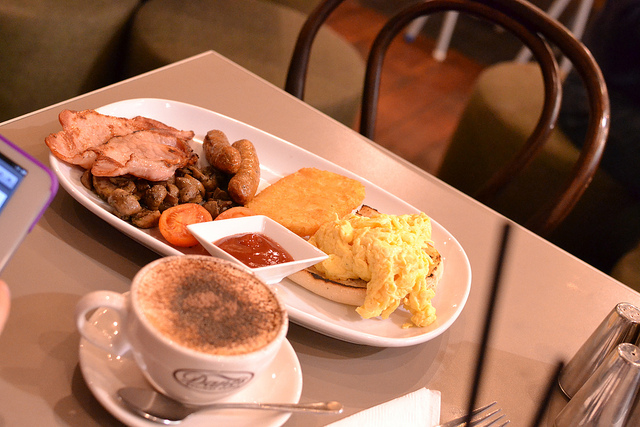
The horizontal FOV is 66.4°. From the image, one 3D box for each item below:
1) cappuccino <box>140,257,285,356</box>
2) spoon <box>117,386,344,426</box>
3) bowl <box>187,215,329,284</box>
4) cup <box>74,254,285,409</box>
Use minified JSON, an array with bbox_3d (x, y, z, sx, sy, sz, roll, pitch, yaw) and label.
[{"bbox_3d":[-0.166,0.140,0.749,0.221,0.043,0.148,20,61,7],"label":"cappuccino"},{"bbox_3d":[-0.149,0.313,0.769,0.354,0.052,0.053,6,60,-1],"label":"spoon"},{"bbox_3d":[-0.135,0.070,1.090,0.183,0.061,0.203,-5,27,-44],"label":"bowl"},{"bbox_3d":[-0.237,0.199,0.795,0.305,0.158,0.231,12,29,-25],"label":"cup"}]
